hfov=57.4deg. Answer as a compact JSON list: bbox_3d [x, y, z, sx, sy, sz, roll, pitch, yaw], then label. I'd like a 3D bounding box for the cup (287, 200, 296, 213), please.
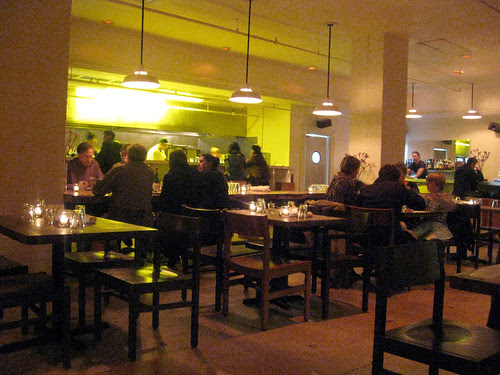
[{"bbox_3d":[0.421,0.186,4.396,0.104,0.089,0.098,1,2,0],"label":"cup"}]

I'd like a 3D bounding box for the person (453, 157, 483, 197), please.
[{"bbox_3d":[4.612,-0.203,9.744,0.652,0.899,0.415,-8,32,-5],"label":"person"}]

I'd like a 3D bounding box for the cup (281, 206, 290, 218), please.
[{"bbox_3d":[0.341,0.231,4.422,0.090,0.086,0.083,0,0,0],"label":"cup"}]

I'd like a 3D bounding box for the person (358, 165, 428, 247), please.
[{"bbox_3d":[1.650,0.270,5.229,0.789,1.029,0.612,1,3,23],"label":"person"}]

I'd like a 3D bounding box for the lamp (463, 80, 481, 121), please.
[{"bbox_3d":[5.888,-2.259,11.969,0.481,0.955,2.284,6,7,24],"label":"lamp"}]

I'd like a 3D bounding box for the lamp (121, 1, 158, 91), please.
[{"bbox_3d":[-1.689,-2.238,7.246,0.501,1.479,2.925,1,6,-12],"label":"lamp"}]
